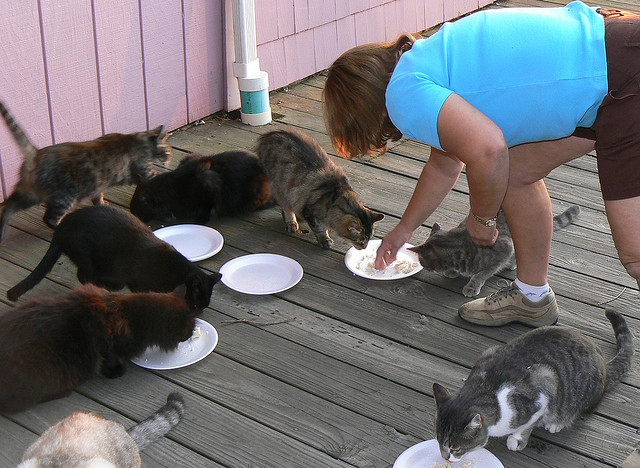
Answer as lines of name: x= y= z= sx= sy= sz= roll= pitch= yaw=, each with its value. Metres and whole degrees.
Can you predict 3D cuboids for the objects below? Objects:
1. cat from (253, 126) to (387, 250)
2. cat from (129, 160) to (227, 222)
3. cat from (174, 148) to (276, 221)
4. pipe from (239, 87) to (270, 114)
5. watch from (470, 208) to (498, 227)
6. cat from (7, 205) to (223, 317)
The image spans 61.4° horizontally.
cat: x=-0.046 y=-0.342 z=3.797 sx=0.477 sy=0.610 sz=1.157 roll=-35 pitch=72 yaw=-25
cat: x=-0.979 y=-0.252 z=3.807 sx=0.586 sy=0.321 sz=0.374 roll=-11 pitch=43 yaw=2
cat: x=-0.653 y=-0.461 z=3.888 sx=0.394 sy=0.286 sz=0.686 roll=-26 pitch=64 yaw=-31
pipe: x=-0.577 y=-1.139 z=4.641 sx=0.209 sy=0.237 sz=0.218 roll=3 pitch=10 yaw=21
watch: x=0.741 y=-0.068 z=2.439 sx=0.090 sy=0.037 sz=0.076 roll=28 pitch=0 yaw=-6
cat: x=-1.098 y=0.142 z=3.108 sx=1.116 sy=0.568 sz=0.554 roll=20 pitch=31 yaw=-11
